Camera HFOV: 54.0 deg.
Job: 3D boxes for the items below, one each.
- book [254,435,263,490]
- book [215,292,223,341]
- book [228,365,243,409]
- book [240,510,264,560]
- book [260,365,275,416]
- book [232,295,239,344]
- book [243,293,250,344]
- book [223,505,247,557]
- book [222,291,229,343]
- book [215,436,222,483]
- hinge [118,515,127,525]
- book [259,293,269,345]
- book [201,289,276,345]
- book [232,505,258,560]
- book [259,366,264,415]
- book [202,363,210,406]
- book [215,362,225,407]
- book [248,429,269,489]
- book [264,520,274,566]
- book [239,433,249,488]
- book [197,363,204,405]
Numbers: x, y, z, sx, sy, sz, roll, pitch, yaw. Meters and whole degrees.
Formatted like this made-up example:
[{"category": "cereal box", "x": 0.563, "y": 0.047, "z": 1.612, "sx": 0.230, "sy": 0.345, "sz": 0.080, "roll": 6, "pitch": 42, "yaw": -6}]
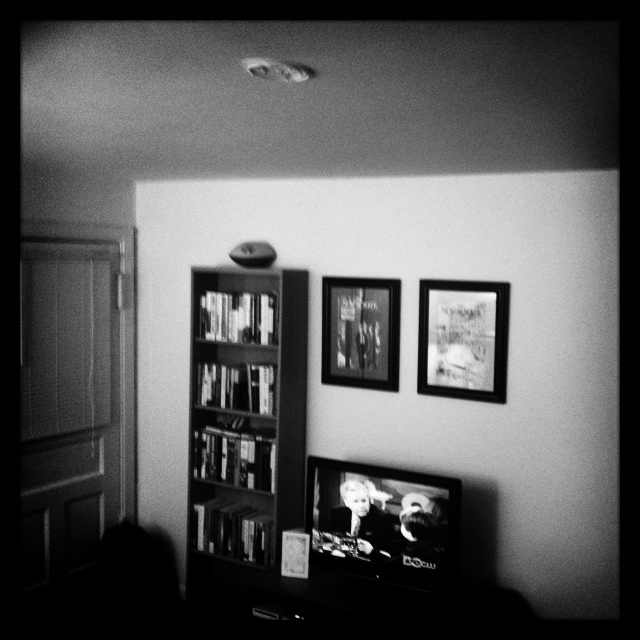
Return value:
[{"category": "book", "x": -0.210, "y": 0.485, "z": 2.141, "sx": 0.025, "sy": 0.135, "sz": 0.116, "roll": 0, "pitch": -6, "yaw": -6}, {"category": "book", "x": -0.351, "y": -0.009, "z": 2.167, "sx": 0.032, "sy": 0.162, "sz": 0.014, "roll": 4, "pitch": 4, "yaw": 31}, {"category": "book", "x": -0.294, "y": 0.235, "z": 2.166, "sx": 0.057, "sy": 0.139, "sz": 0.026, "roll": 2, "pitch": 3, "yaw": 3}, {"category": "book", "x": -0.245, "y": 0.764, "z": 2.249, "sx": 0.083, "sy": 0.144, "sz": 0.136, "roll": 1, "pitch": 1, "yaw": -1}, {"category": "book", "x": -0.179, "y": 0.236, "z": 2.108, "sx": 0.031, "sy": 0.135, "sz": 0.087, "roll": 1, "pitch": -1, "yaw": -2}, {"category": "book", "x": -0.291, "y": -0.004, "z": 2.142, "sx": 0.025, "sy": 0.162, "sz": 0.017, "roll": 2, "pitch": 3, "yaw": 10}, {"category": "book", "x": -0.250, "y": -0.008, "z": 2.132, "sx": 0.035, "sy": 0.180, "sz": 0.016, "roll": -6, "pitch": 19, "yaw": -28}, {"category": "book", "x": -0.303, "y": 0.748, "z": 2.243, "sx": 0.067, "sy": 0.140, "sz": 0.136, "roll": 3, "pitch": 4, "yaw": 11}, {"category": "book", "x": -0.326, "y": -0.006, "z": 2.157, "sx": 0.035, "sy": 0.167, "sz": 0.011, "roll": 4, "pitch": 4, "yaw": 36}, {"category": "book", "x": -0.361, "y": 0.488, "z": 2.206, "sx": 0.034, "sy": 0.157, "sz": 0.016, "roll": 3, "pitch": 4, "yaw": 29}, {"category": "hinge", "x": -0.807, "y": 0.811, "z": 2.560, "sx": 0.047, "sy": 0.041, "sz": 0.026, "roll": 5, "pitch": 5, "yaw": 41}, {"category": "book", "x": -0.187, "y": 0.001, "z": 2.093, "sx": 0.032, "sy": 0.169, "sz": 0.011, "roll": 3, "pitch": 4, "yaw": 28}, {"category": "book", "x": -0.287, "y": -0.008, "z": 2.142, "sx": 0.304, "sy": 0.177, "sz": 0.030, "roll": 4, "pitch": 4, "yaw": 27}, {"category": "book", "x": -0.294, "y": 0.750, "z": 2.258, "sx": 0.076, "sy": 0.145, "sz": 0.144, "roll": 2, "pitch": 8, "yaw": 14}, {"category": "book", "x": -0.199, "y": 0.236, "z": 2.114, "sx": 0.029, "sy": 0.158, "sz": 0.013, "roll": 4, "pitch": 4, "yaw": 41}, {"category": "book", "x": -0.406, "y": 0.231, "z": 2.217, "sx": 0.020, "sy": 0.183, "sz": 0.120, "roll": 0, "pitch": 2, "yaw": -21}, {"category": "book", "x": -0.351, "y": 0.232, "z": 2.191, "sx": 0.016, "sy": 0.186, "sz": 0.122, "roll": 1, "pitch": -1, "yaw": -24}, {"category": "book", "x": -0.212, "y": 0.485, "z": 2.144, "sx": 0.044, "sy": 0.157, "sz": 0.157, "roll": 2, "pitch": 0, "yaw": 10}, {"category": "book", "x": -0.177, "y": 0.764, "z": 2.134, "sx": 0.029, "sy": 0.141, "sz": 0.030, "roll": 1, "pitch": 3, "yaw": -7}, {"category": "book", "x": -0.262, "y": 0.487, "z": 2.169, "sx": 0.034, "sy": 0.176, "sz": 0.028, "roll": 2, "pitch": 3, "yaw": 7}, {"category": "book", "x": -0.426, "y": 0.226, "z": 2.228, "sx": 0.016, "sy": 0.199, "sz": 0.126, "roll": 1, "pitch": 0, "yaw": -10}]
